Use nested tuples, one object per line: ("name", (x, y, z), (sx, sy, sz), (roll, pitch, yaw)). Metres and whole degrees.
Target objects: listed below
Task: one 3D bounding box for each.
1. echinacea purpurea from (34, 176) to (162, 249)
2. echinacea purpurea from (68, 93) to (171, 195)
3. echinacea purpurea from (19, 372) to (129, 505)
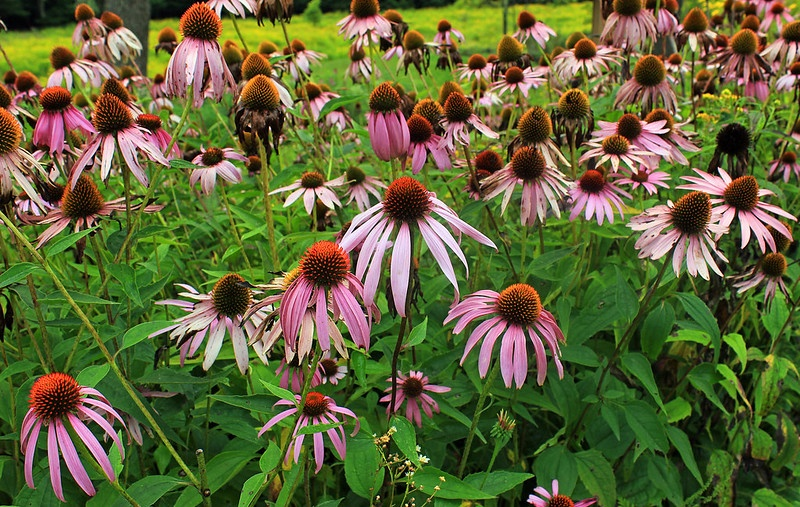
("echinacea purpurea", (-2.006, -0.166, 4.260), (0.520, 0.254, 0.559), (-7, 14, 22))
("echinacea purpurea", (-1.719, -0.643, 3.933), (0.555, 0.576, 0.534), (-11, 28, -28))
("echinacea purpurea", (-1.778, 0.961, 3.471), (0.518, 0.574, 0.417), (-5, 26, -18))
